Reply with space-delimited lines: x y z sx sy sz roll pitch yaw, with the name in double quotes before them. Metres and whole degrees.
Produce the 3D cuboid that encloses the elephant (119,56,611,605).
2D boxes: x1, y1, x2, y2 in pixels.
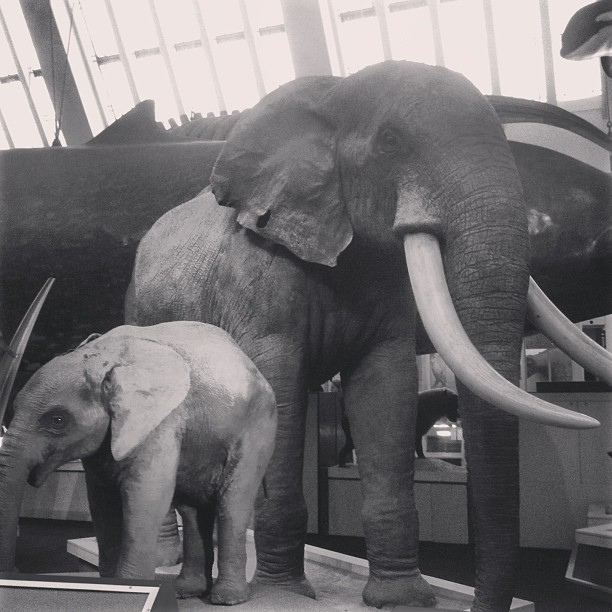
"elephant" 0.021 0.050 2.796 0.938 1.850 2.306 0 -5 -40
